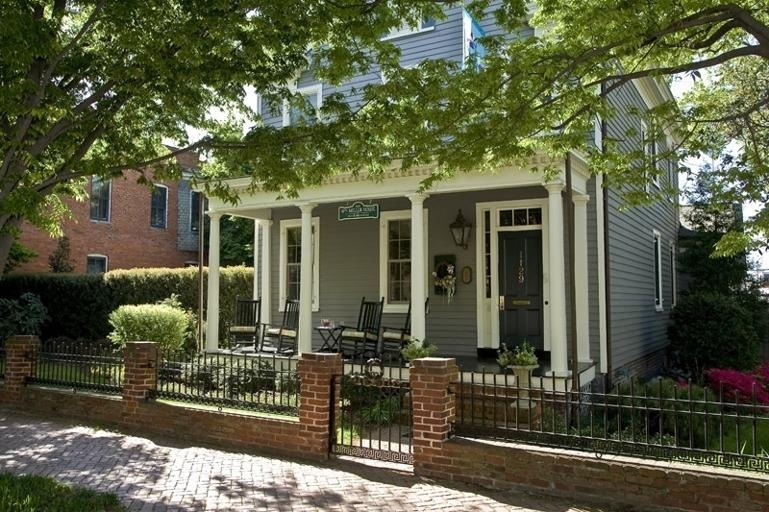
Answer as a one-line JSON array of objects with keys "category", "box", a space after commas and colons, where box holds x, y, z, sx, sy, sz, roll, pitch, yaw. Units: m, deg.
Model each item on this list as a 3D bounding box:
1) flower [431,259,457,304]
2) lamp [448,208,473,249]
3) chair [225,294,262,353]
[{"category": "flower", "box": [1.490, 0.584, 16.090, 0.615, 1.090, 0.329, 2, 13, 16]}, {"category": "lamp", "box": [1.865, -0.647, 15.904, 0.555, 0.951, 0.399, 0, 13, 8]}, {"category": "chair", "box": [-3.767, 1.849, 17.333, 1.034, 1.350, 1.095, 1, -2, -37]}]
